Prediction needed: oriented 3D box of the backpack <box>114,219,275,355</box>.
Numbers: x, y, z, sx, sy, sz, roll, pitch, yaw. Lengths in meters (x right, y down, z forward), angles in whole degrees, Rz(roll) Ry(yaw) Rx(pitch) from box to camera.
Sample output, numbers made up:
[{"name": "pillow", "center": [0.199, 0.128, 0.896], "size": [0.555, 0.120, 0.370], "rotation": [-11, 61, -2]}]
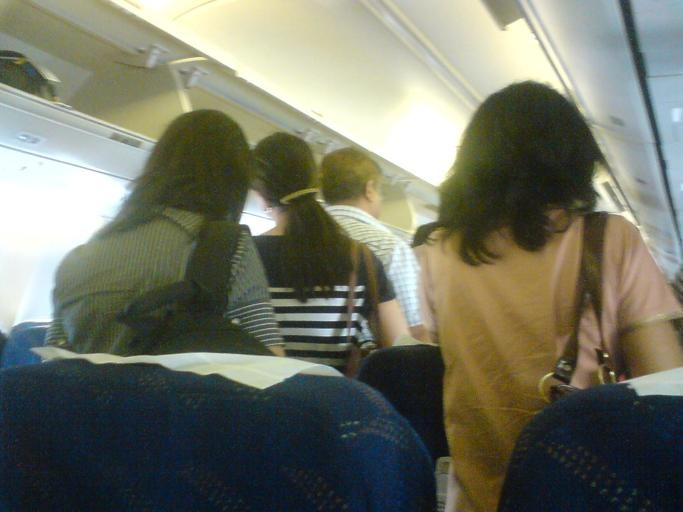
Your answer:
[{"name": "backpack", "center": [-0.250, 0.089, 1.185], "size": [0.311, 0.374, 0.199], "rotation": [0, -42, 5]}]
